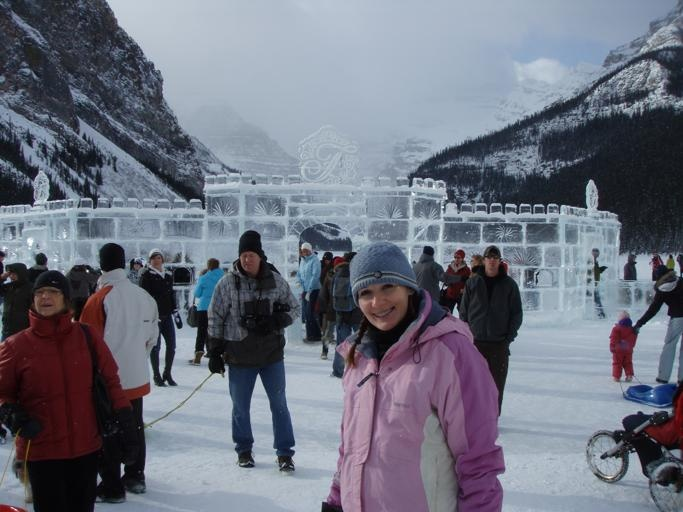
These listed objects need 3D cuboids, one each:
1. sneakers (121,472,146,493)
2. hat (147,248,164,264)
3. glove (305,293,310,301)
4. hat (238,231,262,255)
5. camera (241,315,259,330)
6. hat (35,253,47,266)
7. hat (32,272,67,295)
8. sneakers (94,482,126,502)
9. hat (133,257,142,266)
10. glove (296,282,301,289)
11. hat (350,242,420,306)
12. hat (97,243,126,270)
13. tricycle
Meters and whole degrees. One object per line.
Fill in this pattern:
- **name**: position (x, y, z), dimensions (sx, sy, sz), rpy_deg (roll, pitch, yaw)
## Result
- **sneakers**: position (-2.207, 2.403, 7.985), dimensions (0.115, 0.152, 0.313), rpy_deg (2, 2, -37)
- **hat**: position (-3.370, 0.004, 13.747), dimensions (0.242, 0.190, 0.371), rpy_deg (-1, -21, -11)
- **glove**: position (-0.656, 0.796, 14.563), dimensions (0.107, 0.127, 0.139), rpy_deg (-5, 3, -2)
- **hat**: position (-1.003, -0.149, 8.415), dimensions (0.205, 0.274, 0.279), rpy_deg (0, -2, 1)
- **camera**: position (-1.008, 0.720, 8.246), dimensions (0.163, 0.174, 0.147), rpy_deg (0, -4, -8)
- **hat**: position (-4.645, 0.061, 11.668), dimensions (0.178, 0.242, 0.237), rpy_deg (1, -9, -16)
- **hat**: position (-2.730, 0.290, 7.040), dimensions (0.236, 0.195, 0.229), rpy_deg (9, -9, -42)
- **sneakers**: position (-2.383, 2.462, 7.847), dimensions (0.347, 0.164, 0.137), rpy_deg (1, -1, 3)
- **hat**: position (-3.619, 0.104, 13.539), dimensions (0.120, 0.167, 0.154), rpy_deg (-5, -9, -44)
- **glove**: position (-0.831, 0.577, 14.492), dimensions (0.072, 0.088, 0.095), rpy_deg (0, -10, 2)
- **hat**: position (0.370, 0.173, 6.160), dimensions (0.447, 0.421, 0.502), rpy_deg (-18, -10, 15)
- **hat**: position (-2.422, 0.003, 8.148), dimensions (0.224, 0.323, 0.309), rpy_deg (3, 6, 15)
- **tricycle**: position (3.253, 2.264, 8.282), dimensions (0.598, 0.822, 1.188), rpy_deg (5, -2, -36)
